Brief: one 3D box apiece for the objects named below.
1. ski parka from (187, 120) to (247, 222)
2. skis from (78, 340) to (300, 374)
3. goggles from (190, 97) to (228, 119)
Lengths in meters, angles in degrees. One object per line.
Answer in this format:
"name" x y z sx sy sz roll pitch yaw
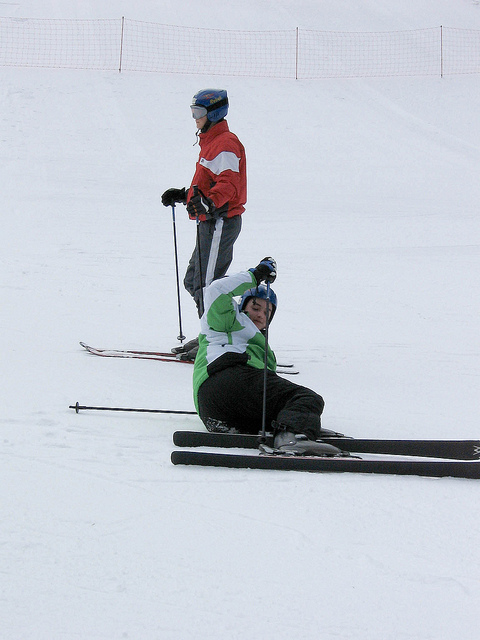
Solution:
"ski parka" -0.124 -1.020 8.693 0.390 0.612 0.349 9 -3 -3
"skis" -0.344 0.234 8.098 0.925 0.073 0.102 8 17 -10
"goggles" -0.218 -1.451 8.748 0.193 0.067 0.142 -20 24 3
